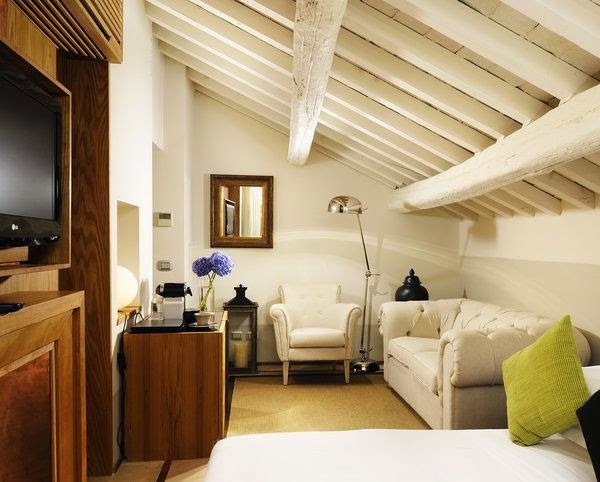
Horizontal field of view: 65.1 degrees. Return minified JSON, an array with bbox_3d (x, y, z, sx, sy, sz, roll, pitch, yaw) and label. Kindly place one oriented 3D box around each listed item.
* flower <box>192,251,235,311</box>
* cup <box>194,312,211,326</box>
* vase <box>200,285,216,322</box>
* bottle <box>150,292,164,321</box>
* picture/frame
[{"bbox_3d":[-0.671,0.357,3.623,0.309,0.489,0.184,-10,-5,42],"label":"flower"},{"bbox_3d":[-0.673,0.550,3.312,0.092,0.062,0.091,1,-6,0],"label":"cup"},{"bbox_3d":[-0.701,0.488,3.526,0.163,0.315,0.167,0,-7,-16],"label":"vase"},{"bbox_3d":[-1.034,0.499,3.424,0.084,0.138,0.131,-1,2,-18],"label":"bottle"},{"bbox_3d":[-0.694,-0.341,5.425,0.791,0.978,0.072,1,-1,-9],"label":"picture/frame"}]
